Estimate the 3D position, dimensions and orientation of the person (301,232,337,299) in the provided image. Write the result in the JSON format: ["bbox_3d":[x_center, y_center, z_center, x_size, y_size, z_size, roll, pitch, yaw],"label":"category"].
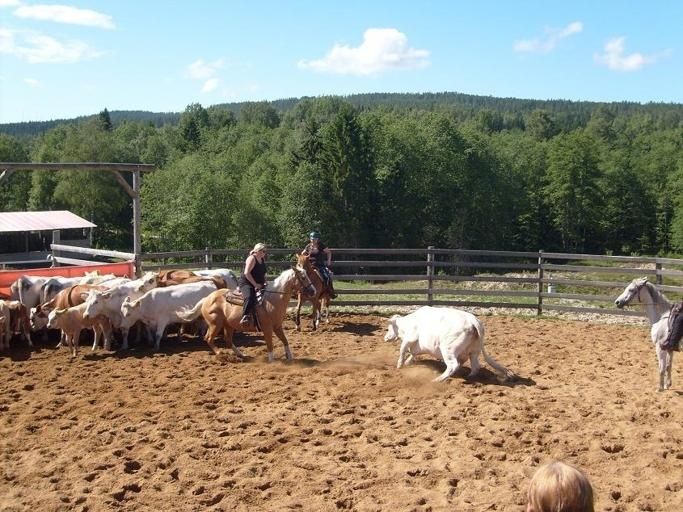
[{"bbox_3d":[-0.617,0.332,19.904,0.713,1.969,1.415,4,11,27],"label":"person"}]

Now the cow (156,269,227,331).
[{"bbox_3d":[-3.291,0.832,18.755,2.277,1.387,0.825,0,1,-26],"label":"cow"}]

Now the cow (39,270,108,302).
[{"bbox_3d":[-6.259,0.792,18.890,1.543,0.896,0.620,-9,16,-14],"label":"cow"}]

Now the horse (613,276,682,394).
[{"bbox_3d":[6.208,1.461,15.796,0.882,1.930,1.852,-1,5,-5],"label":"horse"}]

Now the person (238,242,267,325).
[{"bbox_3d":[-1.853,0.577,16.688,0.551,1.676,0.663,-1,5,-8],"label":"person"}]

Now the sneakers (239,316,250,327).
[{"bbox_3d":[-1.989,1.349,16.463,0.160,0.094,0.230,-3,35,8],"label":"sneakers"}]

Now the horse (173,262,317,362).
[{"bbox_3d":[-1.947,1.183,16.916,2.858,1.917,0.861,2,6,27],"label":"horse"}]

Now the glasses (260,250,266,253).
[{"bbox_3d":[-1.614,-0.098,16.553,0.062,0.051,0.056,-5,10,-19],"label":"glasses"}]

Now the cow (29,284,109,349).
[{"bbox_3d":[-6.144,1.320,18.273,2.512,1.518,0.893,1,-9,12],"label":"cow"}]

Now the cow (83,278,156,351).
[{"bbox_3d":[-4.976,1.079,17.473,0.662,1.086,1.884,-3,3,24],"label":"cow"}]

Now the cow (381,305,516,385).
[{"bbox_3d":[2.009,1.706,15.913,2.642,1.264,1.025,4,7,43],"label":"cow"}]

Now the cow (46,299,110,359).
[{"bbox_3d":[-5.674,1.559,17.240,1.220,1.092,0.631,-3,6,-24],"label":"cow"}]

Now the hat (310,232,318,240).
[{"bbox_3d":[-0.664,-0.506,19.691,0.158,0.188,0.230,1,-8,-3],"label":"hat"}]
